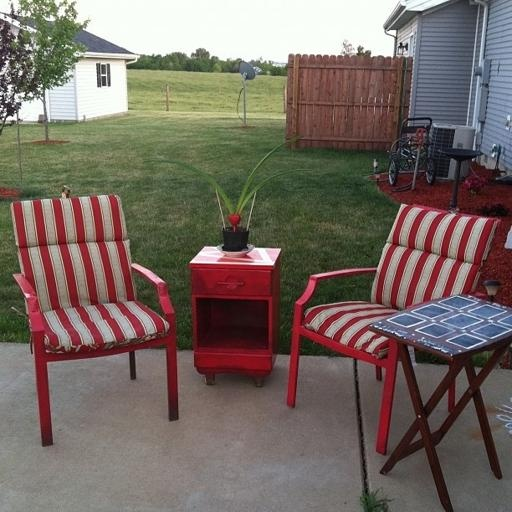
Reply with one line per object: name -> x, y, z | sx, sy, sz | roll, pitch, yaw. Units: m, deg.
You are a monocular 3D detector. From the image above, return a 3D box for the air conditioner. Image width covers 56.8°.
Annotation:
air conditioner -> 4.080, -2.127, 9.877 | 0.746, 1.082, 0.820 | -4, 13, -39

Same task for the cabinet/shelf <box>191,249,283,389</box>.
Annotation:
cabinet/shelf -> -0.153, 0.388, 3.288 | 0.561, 0.848, 0.557 | 4, 13, 15
